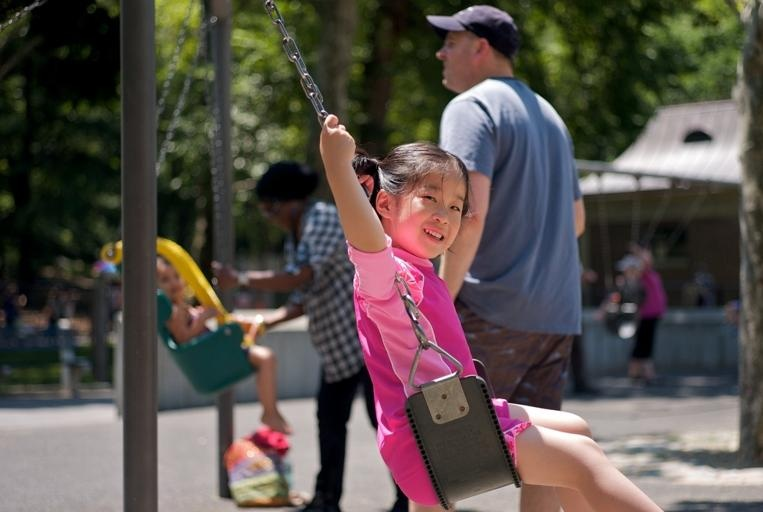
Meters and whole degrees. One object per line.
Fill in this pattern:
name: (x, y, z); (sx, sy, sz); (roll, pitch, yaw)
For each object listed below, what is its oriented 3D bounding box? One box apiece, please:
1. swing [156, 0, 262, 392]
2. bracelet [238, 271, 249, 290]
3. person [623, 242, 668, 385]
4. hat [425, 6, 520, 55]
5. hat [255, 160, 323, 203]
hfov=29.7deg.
swing: (-1.553, -0.243, 12.629); (0.820, 2.342, 0.928); (-1, -1, -6)
bracelet: (-1.243, 0.228, 12.901); (0.124, 0.110, 0.190); (9, 9, -10)
person: (2.597, 0.539, 14.288); (0.342, 1.226, 1.022); (-6, 21, 5)
hat: (0.737, -1.789, 11.627); (0.606, 0.308, 0.395); (20, 8, -5)
hat: (-0.872, -0.643, 12.974); (0.376, 0.170, 0.414); (-8, 11, 27)
